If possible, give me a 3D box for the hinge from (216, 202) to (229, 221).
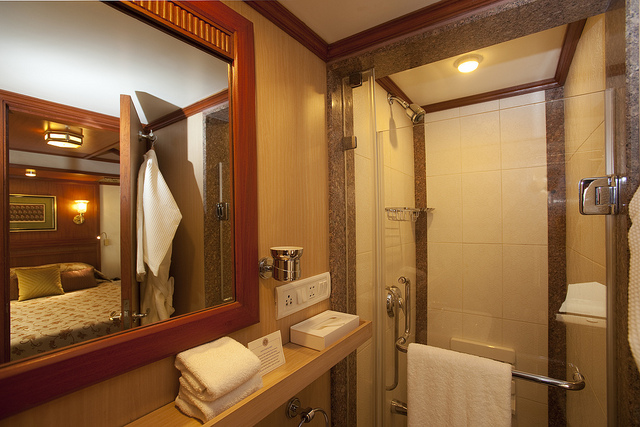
[{"bbox_3d":[-0.399,-0.009,1.750,0.011,0.056,0.058,-1,2,37],"label":"hinge"}]
